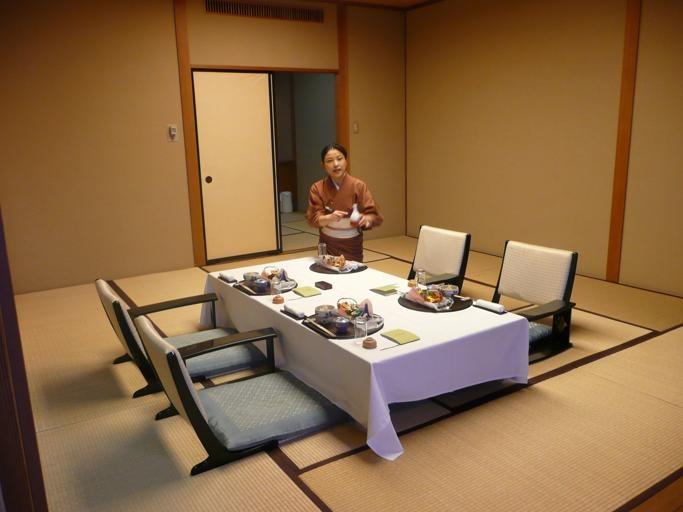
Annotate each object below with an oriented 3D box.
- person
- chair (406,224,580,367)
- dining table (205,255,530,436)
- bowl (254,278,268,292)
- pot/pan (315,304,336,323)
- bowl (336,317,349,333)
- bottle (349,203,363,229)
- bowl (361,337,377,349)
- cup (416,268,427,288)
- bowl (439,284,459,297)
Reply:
[{"bbox_3d":[0.023,-0.443,4.221,0.614,0.982,0.484,-2,14,-5],"label":"person"},{"bbox_3d":[1.187,0.129,3.834,0.836,0.939,1.223,-7,14,-29],"label":"chair"},{"bbox_3d":[0.145,0.545,3.154,1.774,0.552,1.111,13,21,40],"label":"dining table"},{"bbox_3d":[-0.524,0.187,3.297,0.057,0.063,0.081,6,14,19],"label":"bowl"},{"bbox_3d":[-0.096,0.319,2.876,0.093,0.067,0.089,5,10,42],"label":"pot/pan"},{"bbox_3d":[0.011,0.366,2.720,0.071,0.066,0.099,-1,15,2],"label":"bowl"},{"bbox_3d":[0.112,-0.347,4.102,0.138,0.255,0.146,0,0,0],"label":"bottle"},{"bbox_3d":[0.146,0.437,2.563,0.048,0.033,0.053,-1,3,-5],"label":"bowl"},{"bbox_3d":[0.516,0.140,3.226,0.062,0.117,0.061,-2,19,1],"label":"cup"},{"bbox_3d":[0.652,0.200,3.089,0.072,0.053,0.083,-3,2,-28],"label":"bowl"}]
